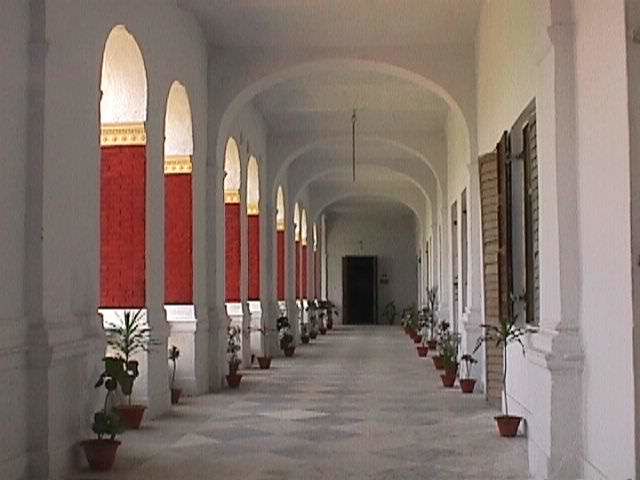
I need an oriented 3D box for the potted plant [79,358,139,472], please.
[{"bbox_3d":[-2.206,1.724,6.994,0.512,1.050,1.503,1,-4,-16],"label":"potted plant"}]
